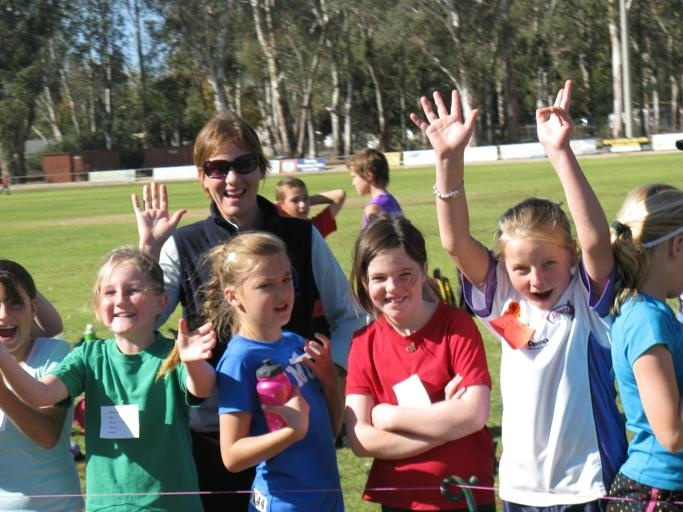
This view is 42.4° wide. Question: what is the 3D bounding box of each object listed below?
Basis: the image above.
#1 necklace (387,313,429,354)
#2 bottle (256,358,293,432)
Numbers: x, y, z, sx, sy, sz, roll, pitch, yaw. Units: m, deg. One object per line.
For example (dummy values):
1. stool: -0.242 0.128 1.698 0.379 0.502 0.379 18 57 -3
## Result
1. necklace: 0.351 0.401 4.666 0.149 0.212 0.108 -1 -2 5
2. bottle: -0.331 0.693 4.399 0.184 0.351 0.125 -6 5 -6
